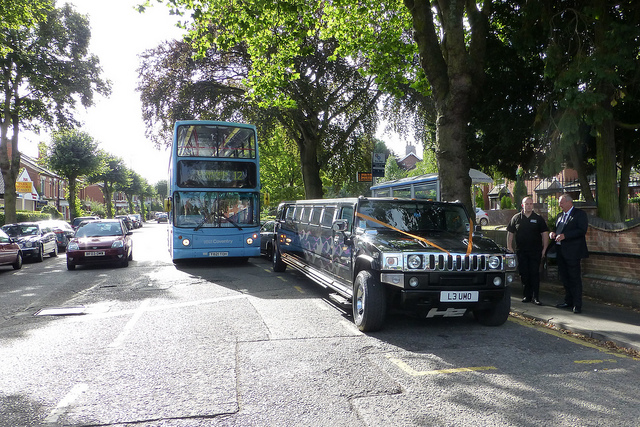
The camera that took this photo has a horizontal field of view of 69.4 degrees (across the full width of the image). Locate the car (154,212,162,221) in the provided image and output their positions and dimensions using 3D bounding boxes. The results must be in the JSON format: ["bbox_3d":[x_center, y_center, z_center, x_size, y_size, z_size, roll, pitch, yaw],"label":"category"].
[{"bbox_3d":[-31.653,0.668,90.050,1.796,1.626,3.976,0,-5,-19],"label":"car"}]

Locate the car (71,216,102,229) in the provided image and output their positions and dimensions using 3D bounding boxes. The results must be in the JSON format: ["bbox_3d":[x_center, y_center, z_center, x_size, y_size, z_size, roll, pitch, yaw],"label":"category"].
[{"bbox_3d":[-13.212,0.534,25.917,0.785,0.707,1.713,1,6,10],"label":"car"}]

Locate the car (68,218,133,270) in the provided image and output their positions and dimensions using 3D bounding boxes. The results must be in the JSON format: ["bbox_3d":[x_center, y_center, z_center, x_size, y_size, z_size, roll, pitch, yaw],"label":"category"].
[{"bbox_3d":[-8.427,1.287,17.623,2.106,1.748,2.082,-3,8,-23],"label":"car"}]

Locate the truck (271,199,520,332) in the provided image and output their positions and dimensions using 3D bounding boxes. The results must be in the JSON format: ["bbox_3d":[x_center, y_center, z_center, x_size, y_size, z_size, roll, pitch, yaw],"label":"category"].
[{"bbox_3d":[1.088,0.903,11.636,2.560,2.079,6.787,2,-3,-19],"label":"truck"}]

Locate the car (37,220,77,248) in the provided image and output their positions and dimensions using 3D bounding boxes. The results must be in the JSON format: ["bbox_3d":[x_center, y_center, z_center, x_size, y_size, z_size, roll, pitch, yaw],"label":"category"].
[{"bbox_3d":[-13.621,1.095,23.793,1.281,1.066,3.059,0,3,-10],"label":"car"}]

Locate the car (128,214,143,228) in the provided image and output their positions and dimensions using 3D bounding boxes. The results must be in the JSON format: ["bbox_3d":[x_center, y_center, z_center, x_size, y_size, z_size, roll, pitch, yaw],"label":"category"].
[{"bbox_3d":[-22.733,1.017,56.608,1.687,1.500,3.867,0,6,-14],"label":"car"}]

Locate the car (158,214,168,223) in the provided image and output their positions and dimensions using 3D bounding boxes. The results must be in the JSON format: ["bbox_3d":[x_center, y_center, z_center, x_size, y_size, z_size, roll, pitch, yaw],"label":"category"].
[{"bbox_3d":[-26.085,0.933,76.598,1.139,1.194,1.675,-1,2,-17],"label":"car"}]
